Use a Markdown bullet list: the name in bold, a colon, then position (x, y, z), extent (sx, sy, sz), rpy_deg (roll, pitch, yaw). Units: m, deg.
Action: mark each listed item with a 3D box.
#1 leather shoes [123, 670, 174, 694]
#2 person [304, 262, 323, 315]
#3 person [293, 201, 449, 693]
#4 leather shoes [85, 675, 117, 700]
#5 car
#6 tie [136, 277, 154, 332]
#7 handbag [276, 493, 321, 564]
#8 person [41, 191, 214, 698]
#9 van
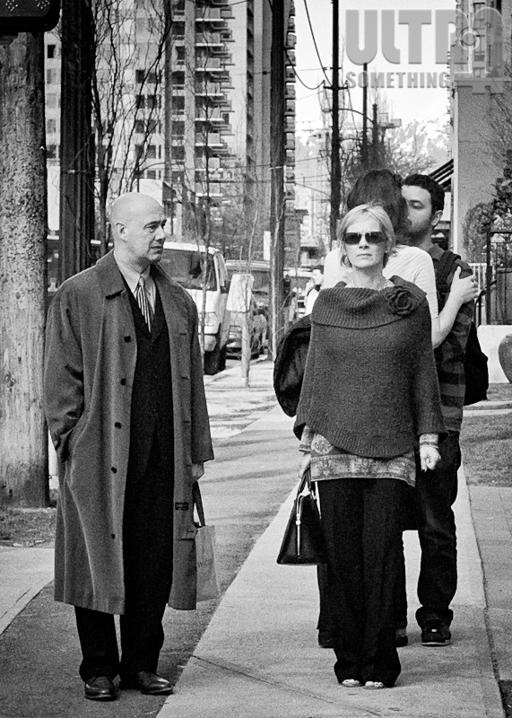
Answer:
- **leather shoes**: position (-0.371, 1.100, 4.475), extent (0.175, 0.090, 0.077), rpy_deg (-7, -12, 32)
- **person**: position (1.093, -1.304, 24.900), extent (0.207, 0.883, 0.227), rpy_deg (19, 37, 8)
- **person**: position (0.387, 0.424, 4.427), extent (0.506, 1.368, 0.352), rpy_deg (0, 4, 2)
- **leather shoes**: position (-0.528, 1.109, 4.429), extent (0.112, 0.083, 0.188), rpy_deg (-1, 6, -7)
- **car**: position (0.038, -1.872, 41.926), extent (2.155, 3.032, 4.553), rpy_deg (0, 1, 6)
- **tie**: position (-0.394, -0.166, 4.597), extent (0.060, 0.303, 0.010), rpy_deg (4, 40, 10)
- **handbag**: position (0.158, 0.587, 4.525), extent (0.146, 0.358, 0.198), rpy_deg (3, -8, -3)
- **person**: position (-0.427, 0.298, 4.507), extent (0.601, 1.757, 0.493), rpy_deg (-2, 5, -17)
- **van**: position (-1.494, -1.457, 30.154), extent (1.489, 1.968, 3.444), rpy_deg (0, 0, 3)
